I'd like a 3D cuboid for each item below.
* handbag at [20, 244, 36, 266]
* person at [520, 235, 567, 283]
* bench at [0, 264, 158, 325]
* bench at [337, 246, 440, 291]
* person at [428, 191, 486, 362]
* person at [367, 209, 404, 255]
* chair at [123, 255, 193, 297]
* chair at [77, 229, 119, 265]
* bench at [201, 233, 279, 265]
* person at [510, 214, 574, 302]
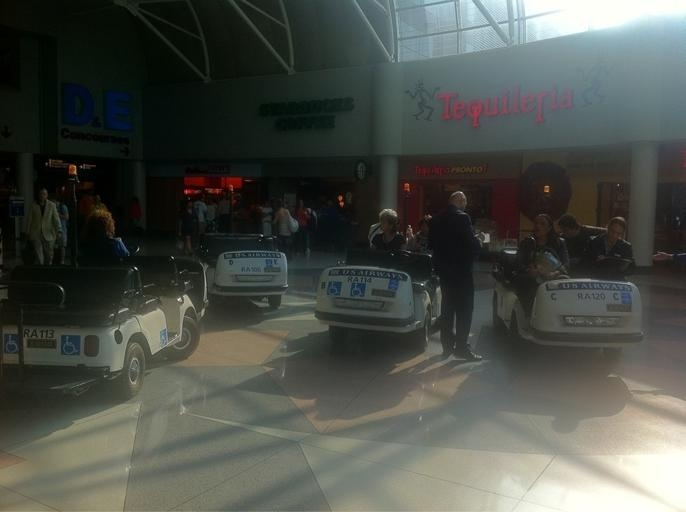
[{"bbox_3d":[-8.228,-0.076,13.782,0.274,0.589,0.756,-4,7,-42],"label":"handbag"},{"bbox_3d":[2.988,0.055,7.918,0.750,0.667,0.567,4,6,31],"label":"person"},{"bbox_3d":[-3.180,0.428,6.127,1.562,0.576,1.030,1,6,4],"label":"bench"},{"bbox_3d":[0.775,0.216,8.391,1.353,0.624,0.971,2,6,12],"label":"bench"},{"bbox_3d":[1.636,0.287,7.640,0.767,2.360,0.468,3,5,26],"label":"person"},{"bbox_3d":[0.763,-0.442,8.978,0.652,0.797,0.385,10,14,39],"label":"person"},{"bbox_3d":[-2.889,0.182,8.368,0.654,0.635,1.162,3,1,-10],"label":"chair"},{"bbox_3d":[-3.472,-0.094,7.395,0.441,0.477,0.493,3,6,17],"label":"chair"},{"bbox_3d":[-2.279,-0.171,11.303,1.556,0.571,0.817,-1,6,-17],"label":"bench"},{"bbox_3d":[3.046,0.098,8.066,0.667,1.485,0.753,-1,9,29],"label":"person"}]
